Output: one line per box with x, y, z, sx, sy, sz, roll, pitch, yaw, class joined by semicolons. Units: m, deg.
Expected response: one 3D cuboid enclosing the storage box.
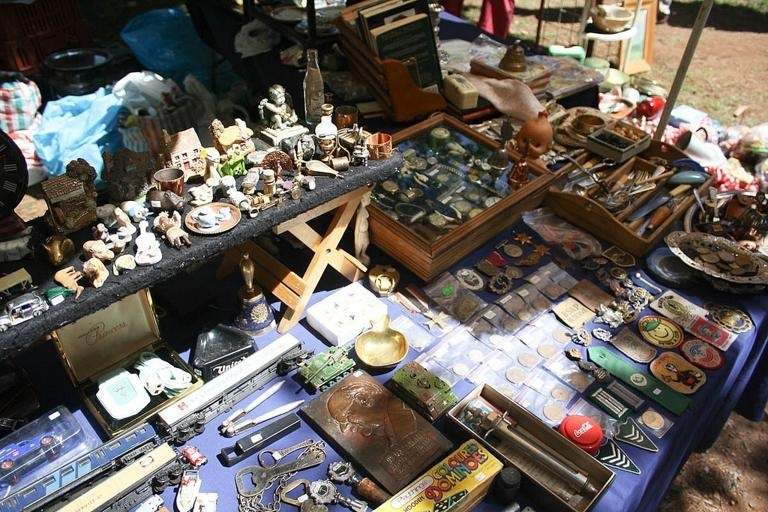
-1.874;0.575;3.541;0.584;0.520;0.204;-27;39;-25;storage box

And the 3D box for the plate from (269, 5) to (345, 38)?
-0.876;-2.643;5.900;0.775;0.085;0.898;-8;46;-5;plate
